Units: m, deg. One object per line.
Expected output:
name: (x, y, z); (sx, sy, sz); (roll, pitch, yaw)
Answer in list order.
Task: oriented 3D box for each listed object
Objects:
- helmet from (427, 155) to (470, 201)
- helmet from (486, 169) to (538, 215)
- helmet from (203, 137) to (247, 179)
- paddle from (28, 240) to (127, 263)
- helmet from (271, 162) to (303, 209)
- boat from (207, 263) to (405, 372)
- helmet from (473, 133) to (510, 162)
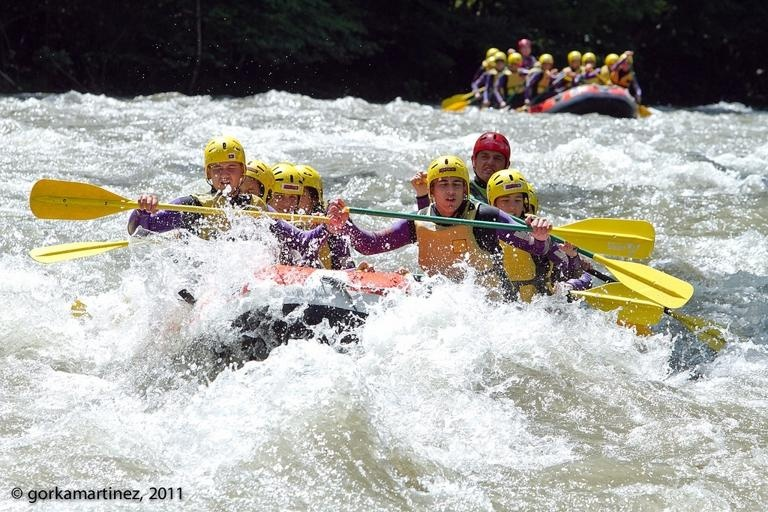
helmet: (0.698, -0.865, 11.310); (0.364, 0.451, 0.411); (1, 15, 2)
helmet: (1.390, -0.728, 11.784); (0.428, 0.498, 0.549); (-14, -14, -6)
helmet: (-1.742, -1.071, 11.276); (0.351, 0.424, 0.399); (1, 28, -7)
paddle: (-3.451, -0.048, 11.617); (0.969, 0.066, 0.136); (-8, 50, -5)
helmet: (-1.116, -0.786, 11.714); (0.375, 0.437, 0.483); (4, -16, -6)
boat: (-0.817, 0.631, 10.488); (1.692, 0.901, 0.719); (8, 24, -9)
helmet: (1.290, -1.353, 12.391); (0.304, 0.389, 0.326); (4, 16, 5)
